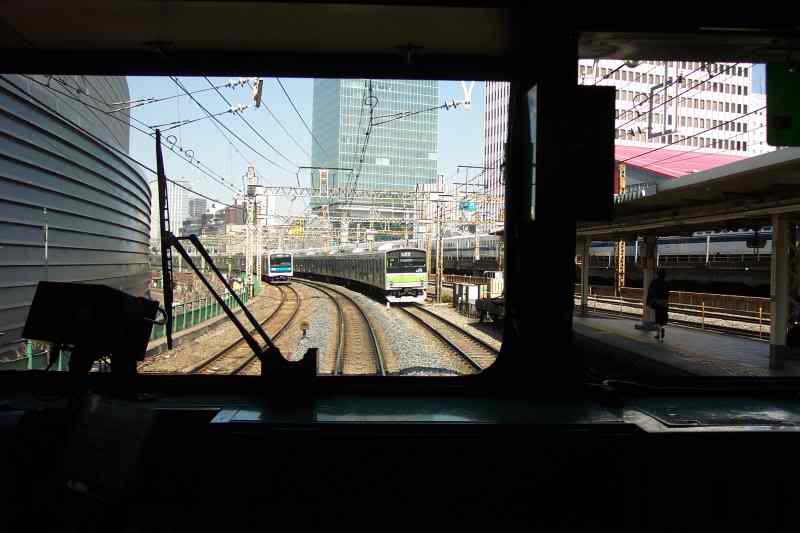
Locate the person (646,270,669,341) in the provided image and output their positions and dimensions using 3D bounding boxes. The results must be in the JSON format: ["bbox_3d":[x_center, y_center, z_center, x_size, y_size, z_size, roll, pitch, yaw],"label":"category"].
[{"bbox_3d":[5.501,0.852,13.236,0.368,1.212,1.683,0,0,22],"label":"person"}]
